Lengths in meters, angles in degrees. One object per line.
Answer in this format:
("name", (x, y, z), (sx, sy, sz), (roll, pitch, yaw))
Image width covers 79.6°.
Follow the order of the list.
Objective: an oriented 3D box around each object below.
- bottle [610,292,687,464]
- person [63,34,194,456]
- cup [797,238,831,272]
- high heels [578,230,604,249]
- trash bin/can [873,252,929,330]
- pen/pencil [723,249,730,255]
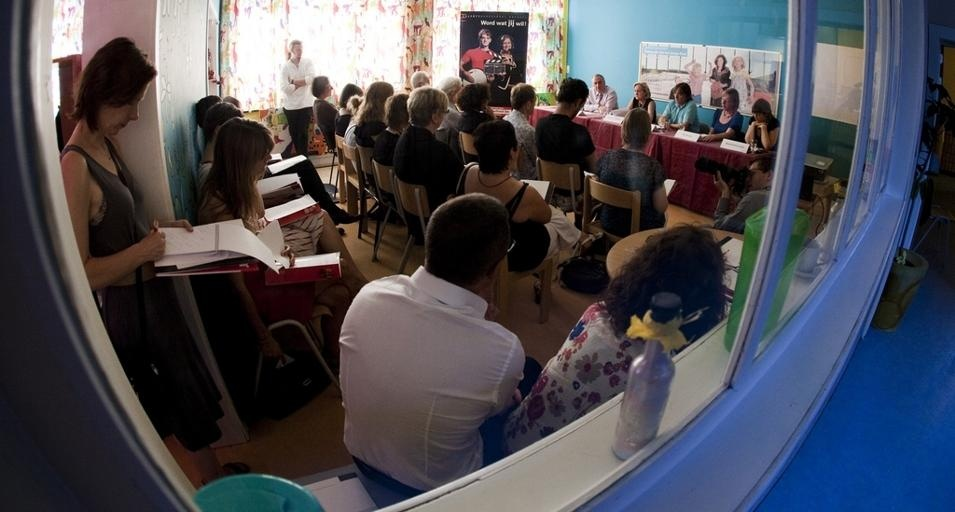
("bottle", (0.512, 0.334, 1.727), (0.164, 0.441, 0.326), (6, 14, 19))
("person", (-1.303, 0.040, 2.274), (0.461, 1.737, 0.307), (-5, 14, -27))
("cup", (1.237, -0.007, 2.139), (0.036, 0.084, 0.138), (24, 23, 14))
("high heels", (0.764, -0.132, 3.943), (0.100, 0.055, 0.139), (-13, 18, 9))
("trash bin/can", (2.078, 0.240, 2.783), (0.211, 0.363, 0.216), (10, -25, 33))
("pen/pencil", (1.030, -0.020, 2.405), (0.018, 0.020, 0.019), (12, -15, 4))
